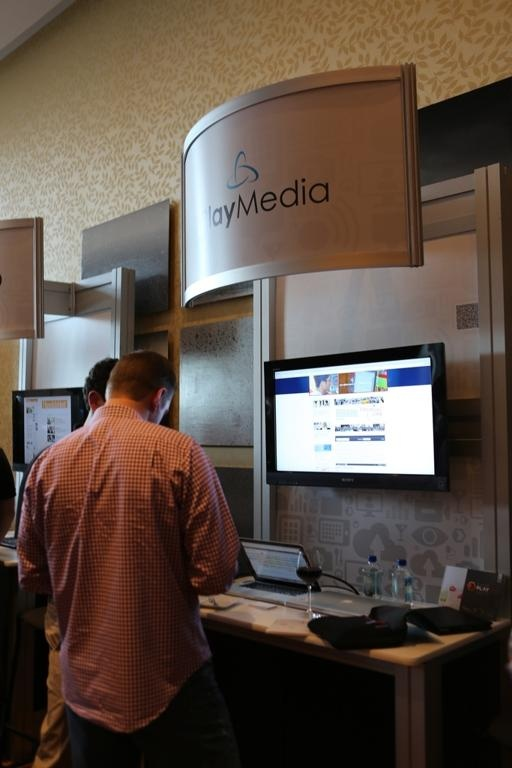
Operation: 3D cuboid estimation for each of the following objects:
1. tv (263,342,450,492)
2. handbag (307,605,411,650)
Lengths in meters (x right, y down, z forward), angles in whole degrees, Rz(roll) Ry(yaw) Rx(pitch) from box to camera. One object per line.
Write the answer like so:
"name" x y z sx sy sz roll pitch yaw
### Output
"tv" 0.298 0.120 2.151 0.031 0.450 0.745 3 -6 -44
"handbag" 0.269 0.587 1.557 0.241 0.067 0.206 1 -5 -24
